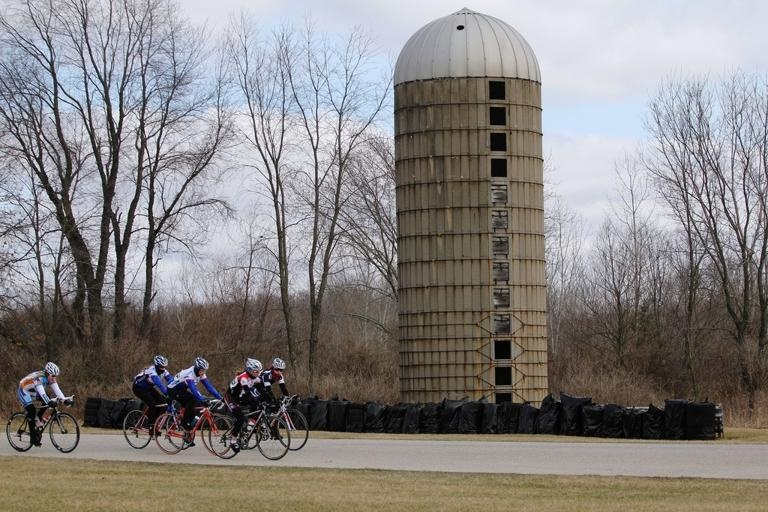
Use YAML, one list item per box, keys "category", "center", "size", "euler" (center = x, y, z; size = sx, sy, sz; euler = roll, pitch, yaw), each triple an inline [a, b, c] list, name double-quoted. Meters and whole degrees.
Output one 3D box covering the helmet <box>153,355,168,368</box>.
- category: "helmet"
  center: [-9.793, 4.630, 69.119]
  size: [0.489, 0.522, 0.575]
  euler: [2, -9, -12]
